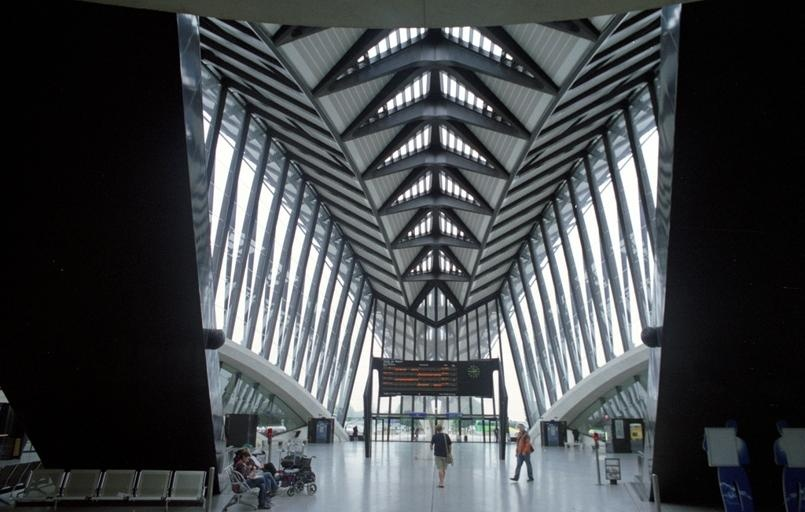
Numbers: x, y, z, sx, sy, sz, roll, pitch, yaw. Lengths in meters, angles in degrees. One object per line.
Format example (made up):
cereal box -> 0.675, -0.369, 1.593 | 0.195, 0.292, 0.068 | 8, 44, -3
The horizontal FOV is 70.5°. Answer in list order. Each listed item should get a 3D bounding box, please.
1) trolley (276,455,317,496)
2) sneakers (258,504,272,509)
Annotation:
trolley -> -2.667, 5.947, 14.857 | 0.768, 1.126, 1.149 | -7, -47, 6
sneakers -> -3.127, 5.737, 12.905 | 0.297, 0.139, 0.115 | 1, -6, -3
